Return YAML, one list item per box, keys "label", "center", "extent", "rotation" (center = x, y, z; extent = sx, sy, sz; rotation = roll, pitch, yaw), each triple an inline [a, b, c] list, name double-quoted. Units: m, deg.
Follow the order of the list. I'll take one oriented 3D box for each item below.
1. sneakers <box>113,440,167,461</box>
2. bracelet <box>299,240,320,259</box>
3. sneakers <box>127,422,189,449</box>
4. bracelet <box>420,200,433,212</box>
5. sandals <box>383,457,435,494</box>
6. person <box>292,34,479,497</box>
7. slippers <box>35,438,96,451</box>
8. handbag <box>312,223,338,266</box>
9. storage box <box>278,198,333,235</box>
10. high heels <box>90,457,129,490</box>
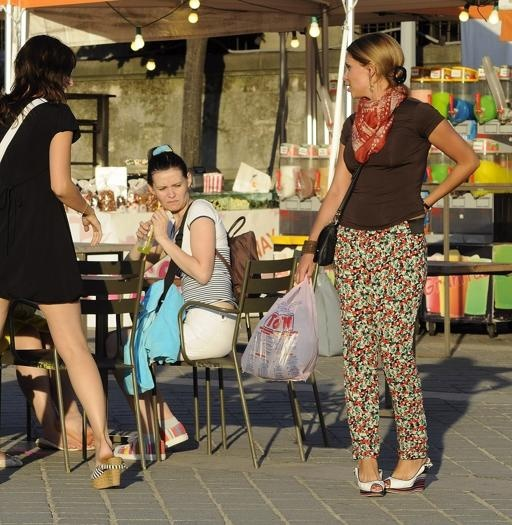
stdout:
- label: "sneakers"
  center: [-0.573, 0.923, 4.172]
  extent: [0.321, 0.123, 0.122]
  rotation: [2, -3, -6]
- label: "bracelet"
  center: [0.232, -0.051, 3.649]
  extent: [0.069, 0.048, 0.064]
  rotation: [-1, 9, -23]
- label: "sneakers"
  center: [-0.472, 0.873, 4.356]
  extent: [0.376, 0.148, 0.126]
  rotation: [-6, 0, 21]
- label: "bracelet"
  center: [0.718, -0.225, 3.551]
  extent: [0.057, 0.037, 0.075]
  rotation: [26, 7, -1]
- label: "sandals"
  center: [0.695, 0.922, 3.637]
  extent: [0.289, 0.109, 0.091]
  rotation: [1, 0, -21]
- label: "person"
  center: [0.537, 0.005, 3.523]
  extent: [0.720, 1.534, 0.302]
  rotation: [1, 0, 11]
- label: "slippers"
  center: [-0.978, 0.938, 4.362]
  extent: [0.269, 0.065, 0.098]
  rotation: [1, -5, 1]
- label: "handbag"
  center: [0.293, -0.077, 3.564]
  extent: [0.066, 0.158, 0.163]
  rotation: [14, 10, 5]
- label: "storage box"
  center: [0.572, -0.483, 9.826]
  extent: [0.696, 0.595, 0.379]
  rotation: [1, -4, 10]
- label: "high heels"
  center: [-0.599, 0.860, 3.474]
  extent: [0.098, 0.068, 0.182]
  rotation: [-2, -1, -15]
